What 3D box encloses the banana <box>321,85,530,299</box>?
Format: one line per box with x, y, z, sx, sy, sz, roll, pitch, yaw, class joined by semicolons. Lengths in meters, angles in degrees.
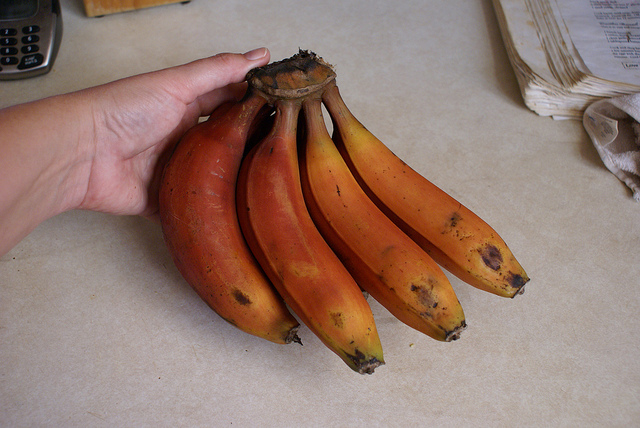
0.165;-0.025;0.974;0.080;0.118;0.342;-35;77;-21;banana

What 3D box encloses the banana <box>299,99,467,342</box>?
0.089;0.022;0.917;0.119;0.083;0.372;-7;65;-59;banana
